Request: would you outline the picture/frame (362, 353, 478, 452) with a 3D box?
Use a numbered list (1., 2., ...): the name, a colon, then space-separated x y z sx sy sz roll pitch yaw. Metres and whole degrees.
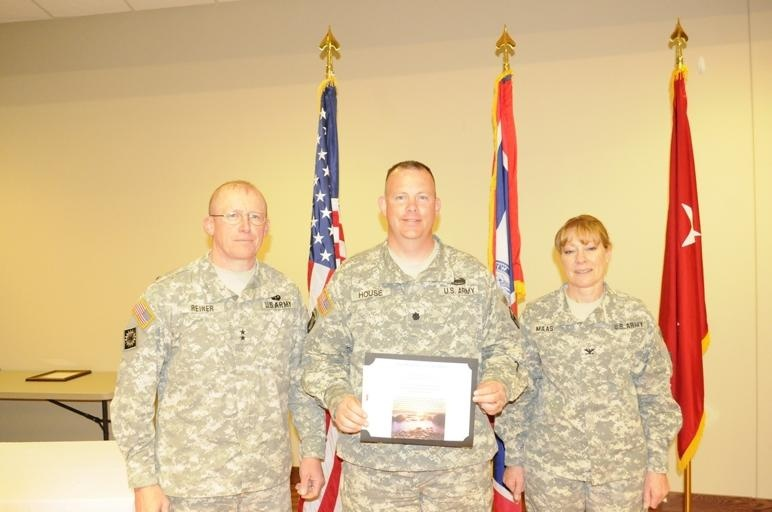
1. picture/frame: 0.193 0.828 3.919 0.602 0.413 0.022 1 -1 3
